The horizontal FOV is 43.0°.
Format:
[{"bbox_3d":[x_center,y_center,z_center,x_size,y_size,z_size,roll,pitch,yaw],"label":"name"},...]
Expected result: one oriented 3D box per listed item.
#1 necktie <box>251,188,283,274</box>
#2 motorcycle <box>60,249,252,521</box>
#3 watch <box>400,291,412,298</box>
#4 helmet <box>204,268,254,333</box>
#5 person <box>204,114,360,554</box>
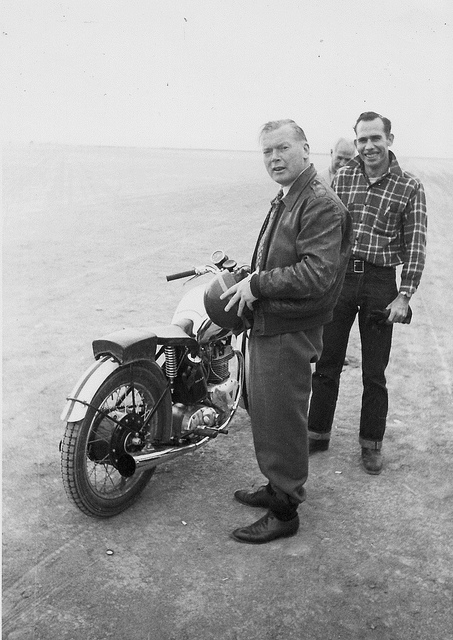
[{"bbox_3d":[0.151,-0.338,2.194,0.104,0.324,0.271,2,11,1],"label":"necktie"},{"bbox_3d":[-0.204,0.194,2.667,0.387,0.939,1.632,2,10,26],"label":"motorcycle"},{"bbox_3d":[0.832,-0.119,2.653,0.027,0.018,0.036,14,3,-28],"label":"watch"},{"bbox_3d":[0.001,-0.062,2.237,0.179,0.252,0.346,2,12,-3],"label":"helmet"},{"bbox_3d":[0.184,0.029,2.258,0.504,1.540,0.720,2,11,1],"label":"person"}]
